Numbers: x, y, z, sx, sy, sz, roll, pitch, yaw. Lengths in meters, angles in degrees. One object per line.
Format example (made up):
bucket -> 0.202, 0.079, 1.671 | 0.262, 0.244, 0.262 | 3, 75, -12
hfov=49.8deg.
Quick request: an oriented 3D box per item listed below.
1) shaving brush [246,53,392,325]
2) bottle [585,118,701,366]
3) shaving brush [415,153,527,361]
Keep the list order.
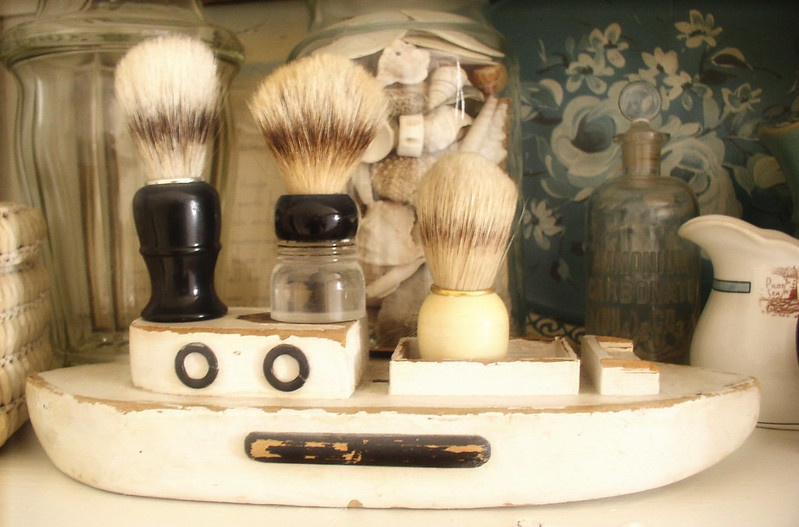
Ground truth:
shaving brush -> -0.107, -0.102, 1.128 | 0.168, 0.338, 0.166 | 1, 10, 9
bottle -> 0.348, -0.023, 1.226 | 0.159, 0.333, 0.082 | 2, 11, 10
shaving brush -> 0.079, -0.010, 1.065 | 0.118, 0.252, 0.079 | 1, 10, 9
